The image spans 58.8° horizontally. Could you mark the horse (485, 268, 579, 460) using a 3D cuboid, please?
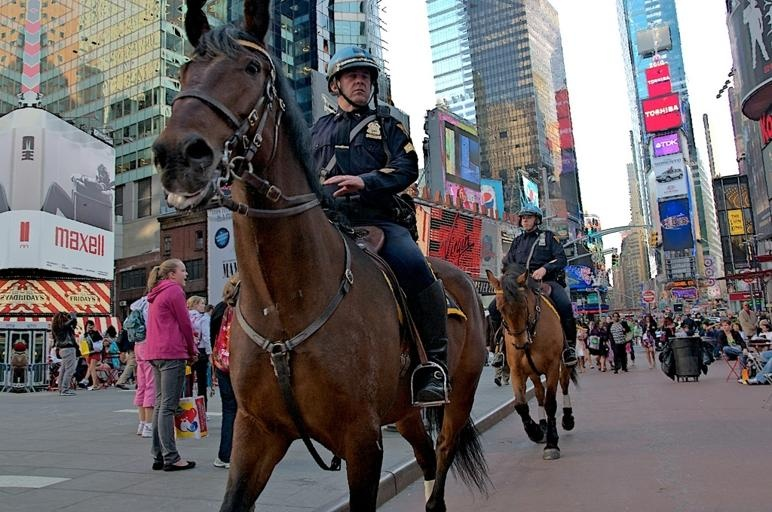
[{"bbox_3d":[3.091,2.159,14.613,1.391,3.896,2.248,-7,-9,16],"label":"horse"}]

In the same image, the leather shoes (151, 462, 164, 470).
[{"bbox_3d":[-4.097,3.767,12.320,0.117,0.132,0.203,2,-28,-11],"label":"leather shoes"}]

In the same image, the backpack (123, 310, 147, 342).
[{"bbox_3d":[-5.475,1.479,14.996,0.533,0.745,0.412,2,4,35],"label":"backpack"}]

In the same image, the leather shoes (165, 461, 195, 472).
[{"bbox_3d":[-3.729,3.799,12.433,0.492,0.129,0.173,-2,2,-15],"label":"leather shoes"}]

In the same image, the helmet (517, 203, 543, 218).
[{"bbox_3d":[3.247,-1.035,15.523,0.478,0.393,0.561,-6,-8,11],"label":"helmet"}]

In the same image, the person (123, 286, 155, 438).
[{"bbox_3d":[-5.137,2.321,14.846,0.765,2.668,1.241,1,-4,-39],"label":"person"}]
